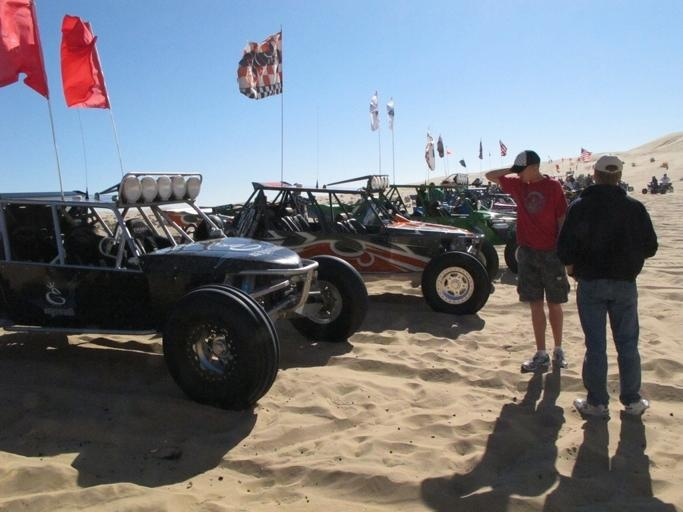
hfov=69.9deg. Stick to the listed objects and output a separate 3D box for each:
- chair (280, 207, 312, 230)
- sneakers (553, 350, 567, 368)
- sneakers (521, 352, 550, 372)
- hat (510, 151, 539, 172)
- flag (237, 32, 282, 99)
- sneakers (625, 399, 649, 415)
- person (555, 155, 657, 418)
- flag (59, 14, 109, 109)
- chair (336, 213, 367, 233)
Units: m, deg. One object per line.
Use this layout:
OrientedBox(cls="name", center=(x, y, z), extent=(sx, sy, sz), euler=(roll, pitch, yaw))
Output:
OrientedBox(cls="chair", center=(-0.820, -0.658, 8.594), extent=(0.501, 0.179, 0.389), euler=(19, 22, 21))
OrientedBox(cls="sneakers", center=(2.527, 1.187, 5.635), extent=(0.138, 0.189, 0.074), euler=(-17, -5, 23))
OrientedBox(cls="sneakers", center=(2.213, 1.196, 5.543), extent=(0.389, 0.181, 0.166), euler=(-2, 2, -9))
OrientedBox(cls="hat", center=(1.972, -0.998, 5.217), extent=(0.274, 0.232, 0.538), euler=(4, 12, 18))
OrientedBox(cls="flag", center=(-2.075, -4.799, 12.296), extent=(1.100, 1.616, 0.618), euler=(-1, 10, -5))
OrientedBox(cls="sneakers", center=(2.767, 1.377, 4.544), extent=(0.284, 0.119, 0.102), euler=(-11, 8, -30))
OrientedBox(cls="person", center=(2.417, 0.293, 4.445), extent=(0.853, 2.356, 0.395), euler=(5, 11, 25))
OrientedBox(cls="flag", center=(-4.536, -3.387, 8.537), extent=(0.713, 1.549, 0.393), euler=(-2, 10, -12))
OrientedBox(cls="chair", center=(0.175, -0.619, 8.776), extent=(0.455, 0.162, 0.331), euler=(26, 22, 15))
